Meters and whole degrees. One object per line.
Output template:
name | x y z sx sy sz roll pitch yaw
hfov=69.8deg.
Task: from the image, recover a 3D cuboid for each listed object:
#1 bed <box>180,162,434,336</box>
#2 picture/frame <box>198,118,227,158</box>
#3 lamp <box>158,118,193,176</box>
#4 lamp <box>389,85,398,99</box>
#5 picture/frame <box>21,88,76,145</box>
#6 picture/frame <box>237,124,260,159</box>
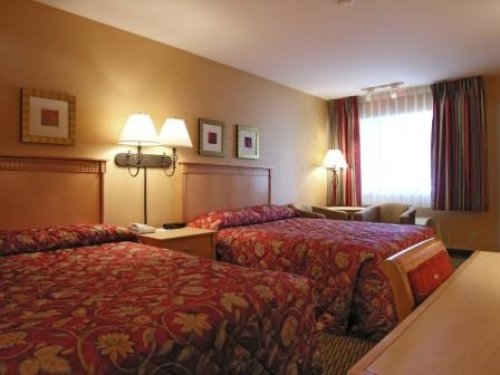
bed | 0.480 0.577 4.030 2.075 1.443 1.841 1 4 36
picture/frame | -0.517 -0.644 4.655 0.037 0.529 0.518 -1 -2 40
lamp | -0.863 -0.437 4.046 0.403 0.643 0.409 2 4 -17
lamp | 2.415 -1.589 5.963 0.113 0.172 0.479 5 8 20
picture/frame | -1.911 -0.657 3.331 0.039 0.620 0.551 1 1 43
picture/frame | -0.043 -0.656 5.139 0.019 0.532 0.508 -2 -3 41
